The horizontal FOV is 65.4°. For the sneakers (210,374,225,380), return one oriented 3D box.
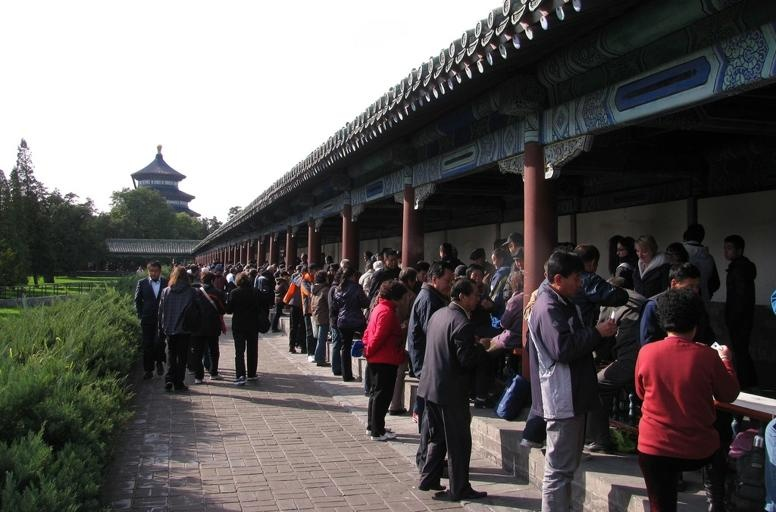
[{"bbox_3d":[-3.210,2.310,11.421,0.279,0.122,0.111,2,0,-24],"label":"sneakers"}]

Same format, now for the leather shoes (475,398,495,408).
[{"bbox_3d":[1.293,2.007,8.153,0.295,0.146,0.109,-1,0,0],"label":"leather shoes"}]

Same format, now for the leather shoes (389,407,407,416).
[{"bbox_3d":[0.149,2.355,9.056,0.268,0.108,0.099,-1,-1,-17],"label":"leather shoes"}]

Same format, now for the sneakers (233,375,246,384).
[{"bbox_3d":[-2.674,2.256,10.902,0.116,0.129,0.275,2,-8,-30],"label":"sneakers"}]

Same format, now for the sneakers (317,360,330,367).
[{"bbox_3d":[-1.358,2.262,12.648,0.283,0.125,0.098,-3,4,-16],"label":"sneakers"}]

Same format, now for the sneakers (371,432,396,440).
[{"bbox_3d":[-0.057,2.354,7.972,0.312,0.126,0.117,-3,3,-17],"label":"sneakers"}]

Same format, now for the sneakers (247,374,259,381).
[{"bbox_3d":[-2.449,2.241,11.022,0.071,0.086,0.199,0,-14,7],"label":"sneakers"}]

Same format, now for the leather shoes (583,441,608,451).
[{"bbox_3d":[2.238,2.063,6.519,0.231,0.107,0.088,-3,-6,17],"label":"leather shoes"}]
